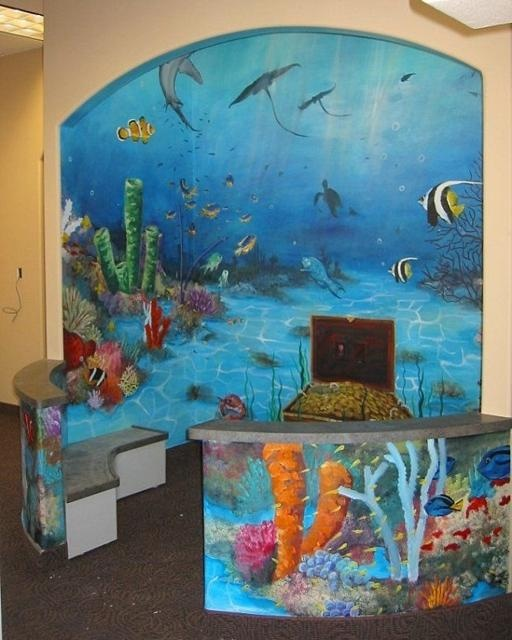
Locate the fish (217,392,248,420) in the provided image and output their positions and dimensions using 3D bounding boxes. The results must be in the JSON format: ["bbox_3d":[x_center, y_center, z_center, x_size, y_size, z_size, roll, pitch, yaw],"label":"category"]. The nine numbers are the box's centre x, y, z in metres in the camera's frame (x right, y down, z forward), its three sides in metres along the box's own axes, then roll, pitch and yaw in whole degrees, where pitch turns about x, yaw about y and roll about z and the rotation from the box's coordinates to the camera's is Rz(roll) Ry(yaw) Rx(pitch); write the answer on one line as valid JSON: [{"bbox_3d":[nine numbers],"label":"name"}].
[{"bbox_3d":[-0.182,0.658,4.369,0.272,0.188,0.058,6,7,39],"label":"fish"}]

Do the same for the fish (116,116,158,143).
[{"bbox_3d":[-0.856,-1.362,4.119,0.020,0.186,0.322,6,8,40],"label":"fish"}]

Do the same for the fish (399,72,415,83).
[{"bbox_3d":[0.902,-1.455,3.456,0.090,0.050,0.003,6,7,38],"label":"fish"}]

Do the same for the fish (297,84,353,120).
[{"bbox_3d":[0.428,-1.398,3.762,0.234,0.217,0.079,-33,-16,22],"label":"fish"}]

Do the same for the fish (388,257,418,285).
[{"bbox_3d":[0.906,-0.313,3.576,0.208,0.124,0.083,24,31,36],"label":"fish"}]
